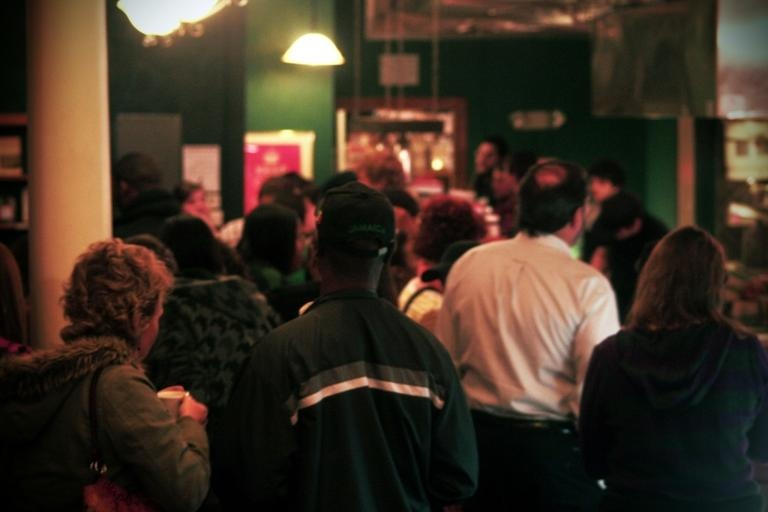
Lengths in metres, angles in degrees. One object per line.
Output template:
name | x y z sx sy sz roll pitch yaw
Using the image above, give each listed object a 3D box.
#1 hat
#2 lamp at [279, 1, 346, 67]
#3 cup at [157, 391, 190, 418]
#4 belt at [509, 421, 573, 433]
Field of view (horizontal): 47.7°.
hat | -0.090 -0.108 2.811 0.194 0.167 0.259 2 8 -17
lamp | -0.584 -1.806 6.872 0.431 0.657 1.011 -2 5 -6
cup | -0.702 0.495 2.844 0.071 0.064 0.090 1 -4 -12
belt | 0.608 0.659 3.326 0.237 0.055 0.012 -2 5 -1
